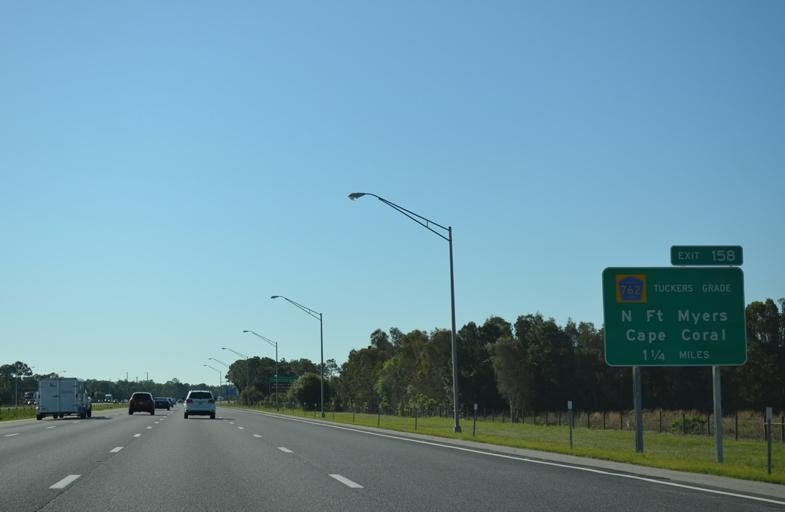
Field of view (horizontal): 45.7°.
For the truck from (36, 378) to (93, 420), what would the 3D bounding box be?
[{"bbox_3d":[-24.885,11.190,71.135,3.081,3.269,5.979,0,-9,-6],"label":"truck"}]
